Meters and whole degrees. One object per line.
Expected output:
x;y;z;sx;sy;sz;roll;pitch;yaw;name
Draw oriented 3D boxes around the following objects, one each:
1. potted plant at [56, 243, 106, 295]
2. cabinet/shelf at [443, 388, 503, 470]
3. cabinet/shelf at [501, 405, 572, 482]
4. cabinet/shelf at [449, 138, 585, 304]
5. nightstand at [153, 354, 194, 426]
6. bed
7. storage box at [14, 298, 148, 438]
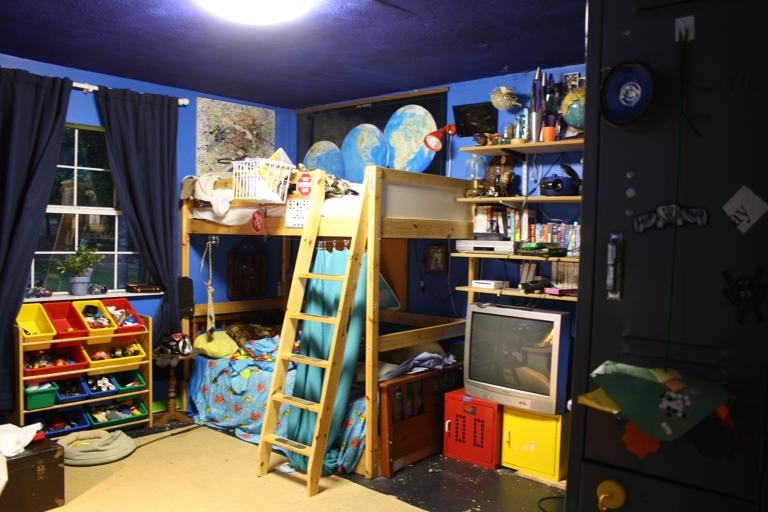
-2.624;0.155;4.982;0.291;0.411;0.358;0;-6;-33;potted plant
0.706;1.301;4.360;0.441;0.493;0.303;3;5;31;cabinet/shelf
1.054;1.326;4.080;0.469;0.481;0.146;6;10;33;cabinet/shelf
1.048;-0.278;4.406;1.334;1.261;0.428;-2;-4;41;cabinet/shelf
-1.880;1.179;5.083;0.439;0.556;0.451;0;-2;-32;nightstand
-0.063;0.312;4.972;2.857;2.439;1.369;3;1;41;bed
-2.432;0.907;4.526;1.089;1.264;0.483;2;-4;-41;storage box
